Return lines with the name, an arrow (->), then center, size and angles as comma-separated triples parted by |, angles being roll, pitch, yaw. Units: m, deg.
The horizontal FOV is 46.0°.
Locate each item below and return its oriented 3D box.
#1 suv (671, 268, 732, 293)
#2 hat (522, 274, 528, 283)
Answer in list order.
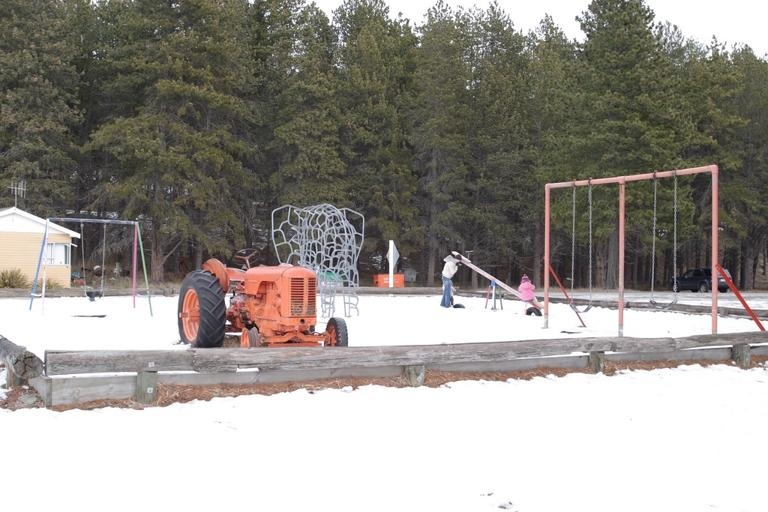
suv -> 15.741, 1.218, 45.467 | 1.684, 1.169, 3.574 | 1, 0, -9
hat -> 4.649, 0.747, 29.940 | 0.220, 0.239, 0.700 | 4, 1, 9
